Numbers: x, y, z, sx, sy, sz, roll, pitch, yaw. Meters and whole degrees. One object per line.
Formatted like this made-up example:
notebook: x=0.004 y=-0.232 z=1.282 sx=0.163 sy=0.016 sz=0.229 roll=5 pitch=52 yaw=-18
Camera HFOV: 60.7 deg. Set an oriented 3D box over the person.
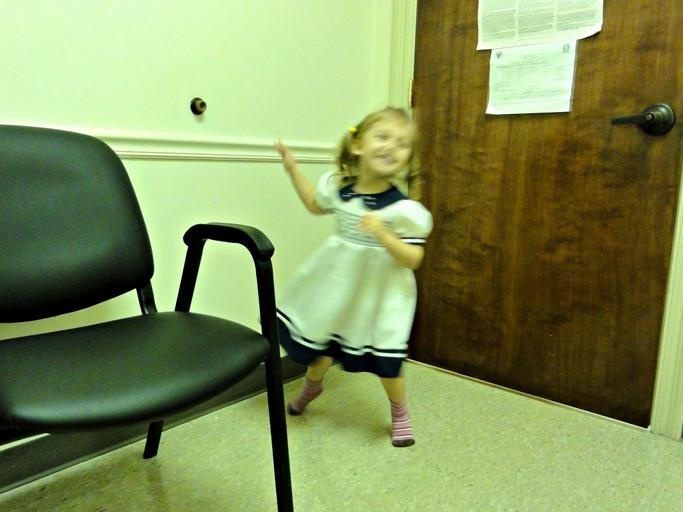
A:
person: x=0.029 y=-0.042 z=1.637 sx=0.434 sy=0.709 sz=0.337 roll=1 pitch=24 yaw=4
